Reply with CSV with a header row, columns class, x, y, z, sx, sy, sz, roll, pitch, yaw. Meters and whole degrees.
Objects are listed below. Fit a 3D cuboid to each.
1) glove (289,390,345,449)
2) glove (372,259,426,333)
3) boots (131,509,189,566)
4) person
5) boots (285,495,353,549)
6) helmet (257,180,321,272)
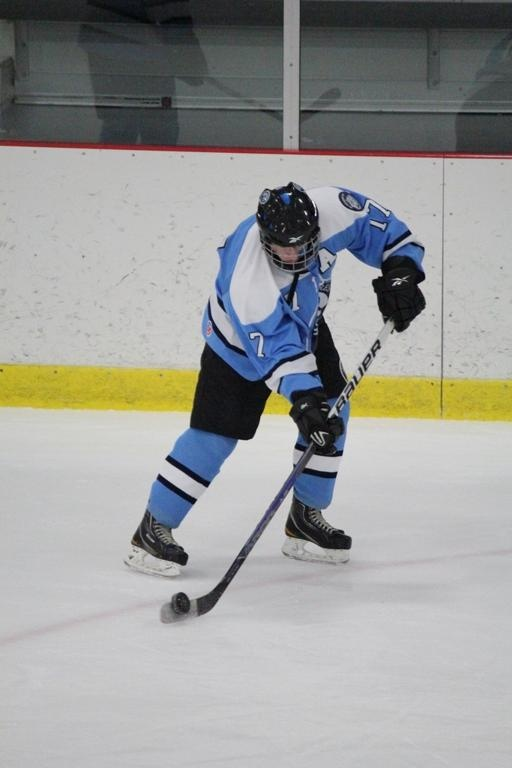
class,x,y,z,sx,sy,sz,roll,pitch,yaw
glove,0.123,0.083,1.740,0.134,0.101,0.062,49,-31,-20
glove,0.353,-0.222,1.952,0.150,0.172,0.069,8,39,2
boots,-0.224,0.367,1.931,0.166,0.093,0.053,13,-3,39
person,0.045,-0.007,1.980,0.724,1.015,0.588,2,28,14
boots,0.165,0.348,2.022,0.201,0.110,0.066,10,8,40
helmet,0.069,-0.344,1.769,0.145,0.198,0.156,0,11,2
